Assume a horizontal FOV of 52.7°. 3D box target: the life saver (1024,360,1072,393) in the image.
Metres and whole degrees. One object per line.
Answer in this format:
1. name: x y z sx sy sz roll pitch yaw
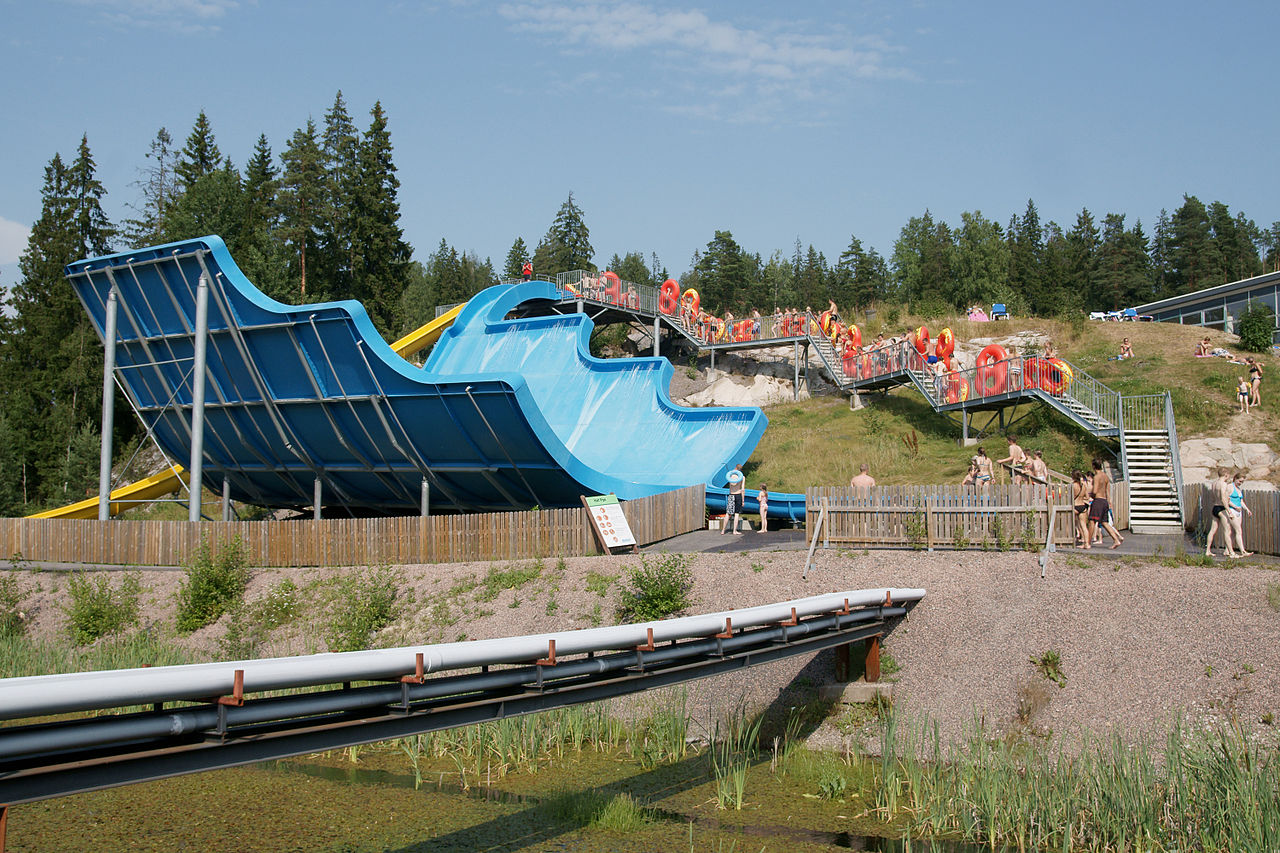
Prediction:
1. life saver: 15.959 -1.978 50.536 0.586 1.271 2.104 -13 17 -37

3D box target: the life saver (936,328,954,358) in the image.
1. life saver: 13.129 -3.576 55.542 0.629 1.253 1.233 0 14 9

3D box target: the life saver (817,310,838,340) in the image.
1. life saver: 9.464 -5.102 64.869 1.057 1.446 0.354 -21 14 -29

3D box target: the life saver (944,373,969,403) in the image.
1. life saver: 13.178 -1.630 53.613 0.488 1.266 1.502 -6 14 -15
